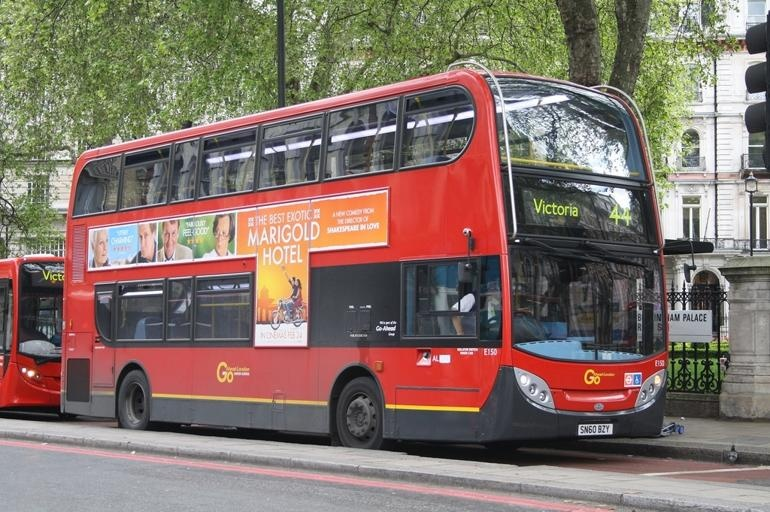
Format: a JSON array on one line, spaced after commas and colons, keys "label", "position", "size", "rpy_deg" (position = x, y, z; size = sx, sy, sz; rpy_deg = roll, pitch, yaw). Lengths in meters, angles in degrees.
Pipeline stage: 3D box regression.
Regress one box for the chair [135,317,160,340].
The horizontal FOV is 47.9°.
[{"label": "chair", "position": [-5.400, 1.605, 19.947], "size": [0.575, 0.568, 0.547], "rpy_deg": [-1, -11, 9]}]
